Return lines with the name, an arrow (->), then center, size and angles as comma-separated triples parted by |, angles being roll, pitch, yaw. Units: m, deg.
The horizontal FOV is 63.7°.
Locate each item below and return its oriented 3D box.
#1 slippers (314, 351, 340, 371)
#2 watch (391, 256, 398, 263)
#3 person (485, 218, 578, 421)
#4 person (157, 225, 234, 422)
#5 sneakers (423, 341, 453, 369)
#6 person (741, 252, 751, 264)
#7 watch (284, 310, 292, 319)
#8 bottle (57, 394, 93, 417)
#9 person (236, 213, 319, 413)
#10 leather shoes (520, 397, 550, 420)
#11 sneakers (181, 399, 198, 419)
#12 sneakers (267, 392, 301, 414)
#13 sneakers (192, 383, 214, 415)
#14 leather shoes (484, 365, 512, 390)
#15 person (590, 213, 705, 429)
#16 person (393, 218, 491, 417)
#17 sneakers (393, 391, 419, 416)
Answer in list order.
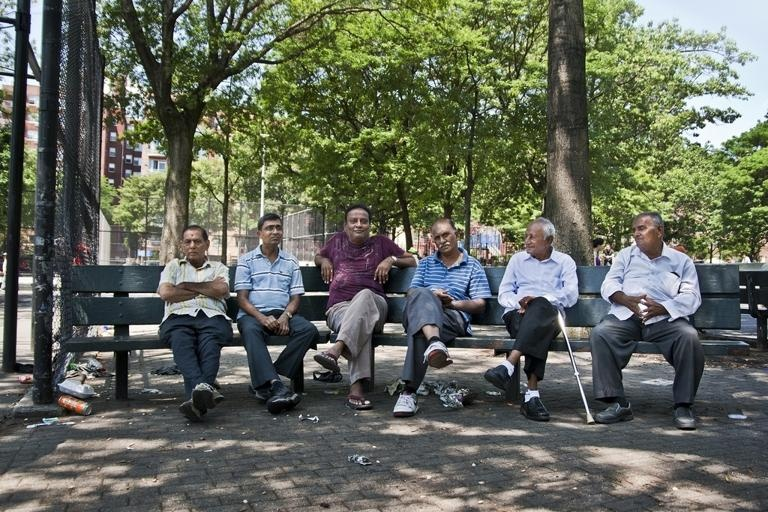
slippers -> -0.622, 1.126, 6.547 | 0.244, 0.240, 0.287 | 0, 3, -7
watch -> 0.116, 0.043, 7.355 | 0.064, 0.071, 0.072 | 1, 19, 15
person -> 1.644, 0.606, 6.731 | 0.855, 2.047, 1.101 | 2, 3, 17
person -> -2.068, 0.549, 6.761 | 0.758, 1.755, 1.132 | 0, 3, -17
sneakers -> 0.547, 1.020, 6.390 | 0.264, 0.290, 0.267 | 1, 3, 3
person -> 32.149, 0.143, 54.945 | 0.679, 0.788, 0.906 | -3, -18, 11
watch -> -1.084, 0.658, 7.002 | 0.091, 0.082, 0.056 | 13, 1, -30
bottle -> -3.197, 1.516, 6.337 | 0.356, 0.172, 0.253 | 0, 3, -13
person -> -1.241, 0.568, 6.946 | 0.884, 2.057, 1.030 | 0, 3, -13
leather shoes -> 1.549, 1.570, 6.349 | 0.153, 0.125, 0.314 | 2, -7, -18
sneakers -> -1.902, 1.486, 6.037 | 0.080, 0.218, 0.156 | -19, 15, 6
sneakers -> -1.034, 1.509, 6.446 | 0.393, 0.157, 0.185 | -1, 37, -35
sneakers -> -1.753, 1.383, 6.019 | 0.174, 0.367, 0.163 | 0, 45, -7
leather shoes -> 1.207, 1.254, 6.422 | 0.173, 0.153, 0.373 | 31, -4, 33
person -> 2.770, 0.595, 6.486 | 1.054, 2.126, 1.107 | 2, 3, 26
person -> 0.632, 0.610, 6.885 | 0.909, 2.053, 1.391 | 2, 3, 20
sneakers -> 0.221, 1.532, 6.439 | 0.252, 0.207, 0.305 | 1, 3, 4
